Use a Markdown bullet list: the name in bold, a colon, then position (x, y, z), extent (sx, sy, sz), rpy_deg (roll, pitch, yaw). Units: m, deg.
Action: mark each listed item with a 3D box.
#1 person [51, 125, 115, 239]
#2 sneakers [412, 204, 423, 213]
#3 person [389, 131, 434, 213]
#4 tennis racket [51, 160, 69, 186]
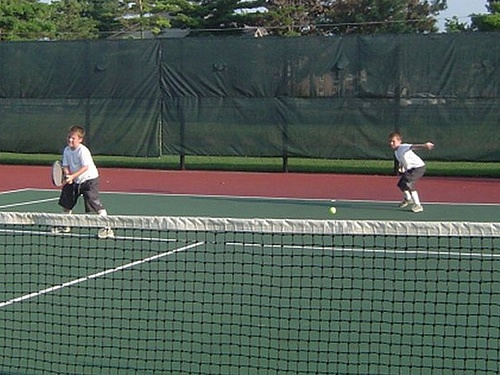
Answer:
- **person**: position (-2.739, -0.277, 14.080), extent (0.759, 1.516, 0.734), rpy_deg (0, 11, 0)
- **sneakers**: position (3.097, 0.371, 16.138), extent (0.111, 0.154, 0.333), rpy_deg (-2, -4, 12)
- **person**: position (3.225, -0.339, 17.382), extent (0.602, 1.764, 1.337), rpy_deg (-7, 8, -11)
- **tennis racket**: position (-3.078, -0.230, 14.064), extent (0.195, 0.423, 0.312), rpy_deg (-3, 12, -14)
